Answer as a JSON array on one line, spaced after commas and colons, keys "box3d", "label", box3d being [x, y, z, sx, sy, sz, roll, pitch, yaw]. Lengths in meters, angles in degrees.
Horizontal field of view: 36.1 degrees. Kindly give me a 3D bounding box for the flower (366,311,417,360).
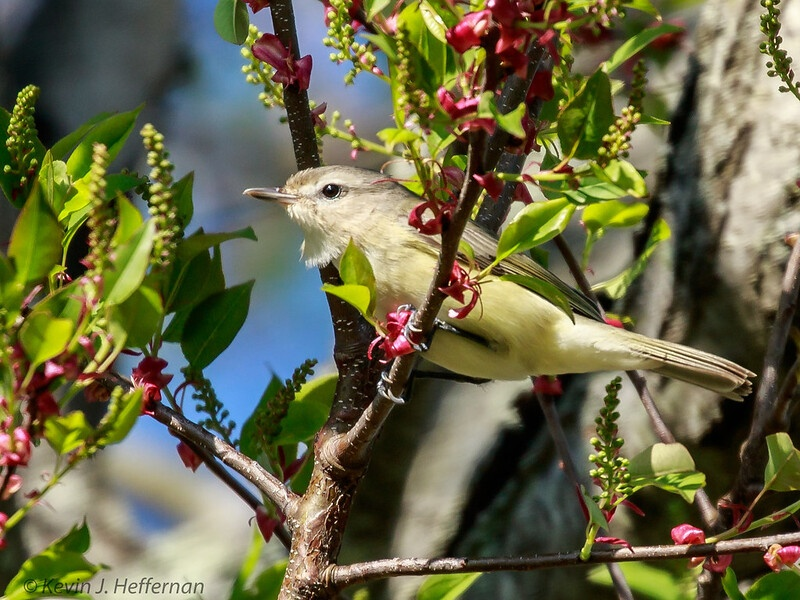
[{"box3d": [-0.040, 0.139, 4.122, 0.064, 0.170, 0.173, 27, -49, -28], "label": "flower"}]
